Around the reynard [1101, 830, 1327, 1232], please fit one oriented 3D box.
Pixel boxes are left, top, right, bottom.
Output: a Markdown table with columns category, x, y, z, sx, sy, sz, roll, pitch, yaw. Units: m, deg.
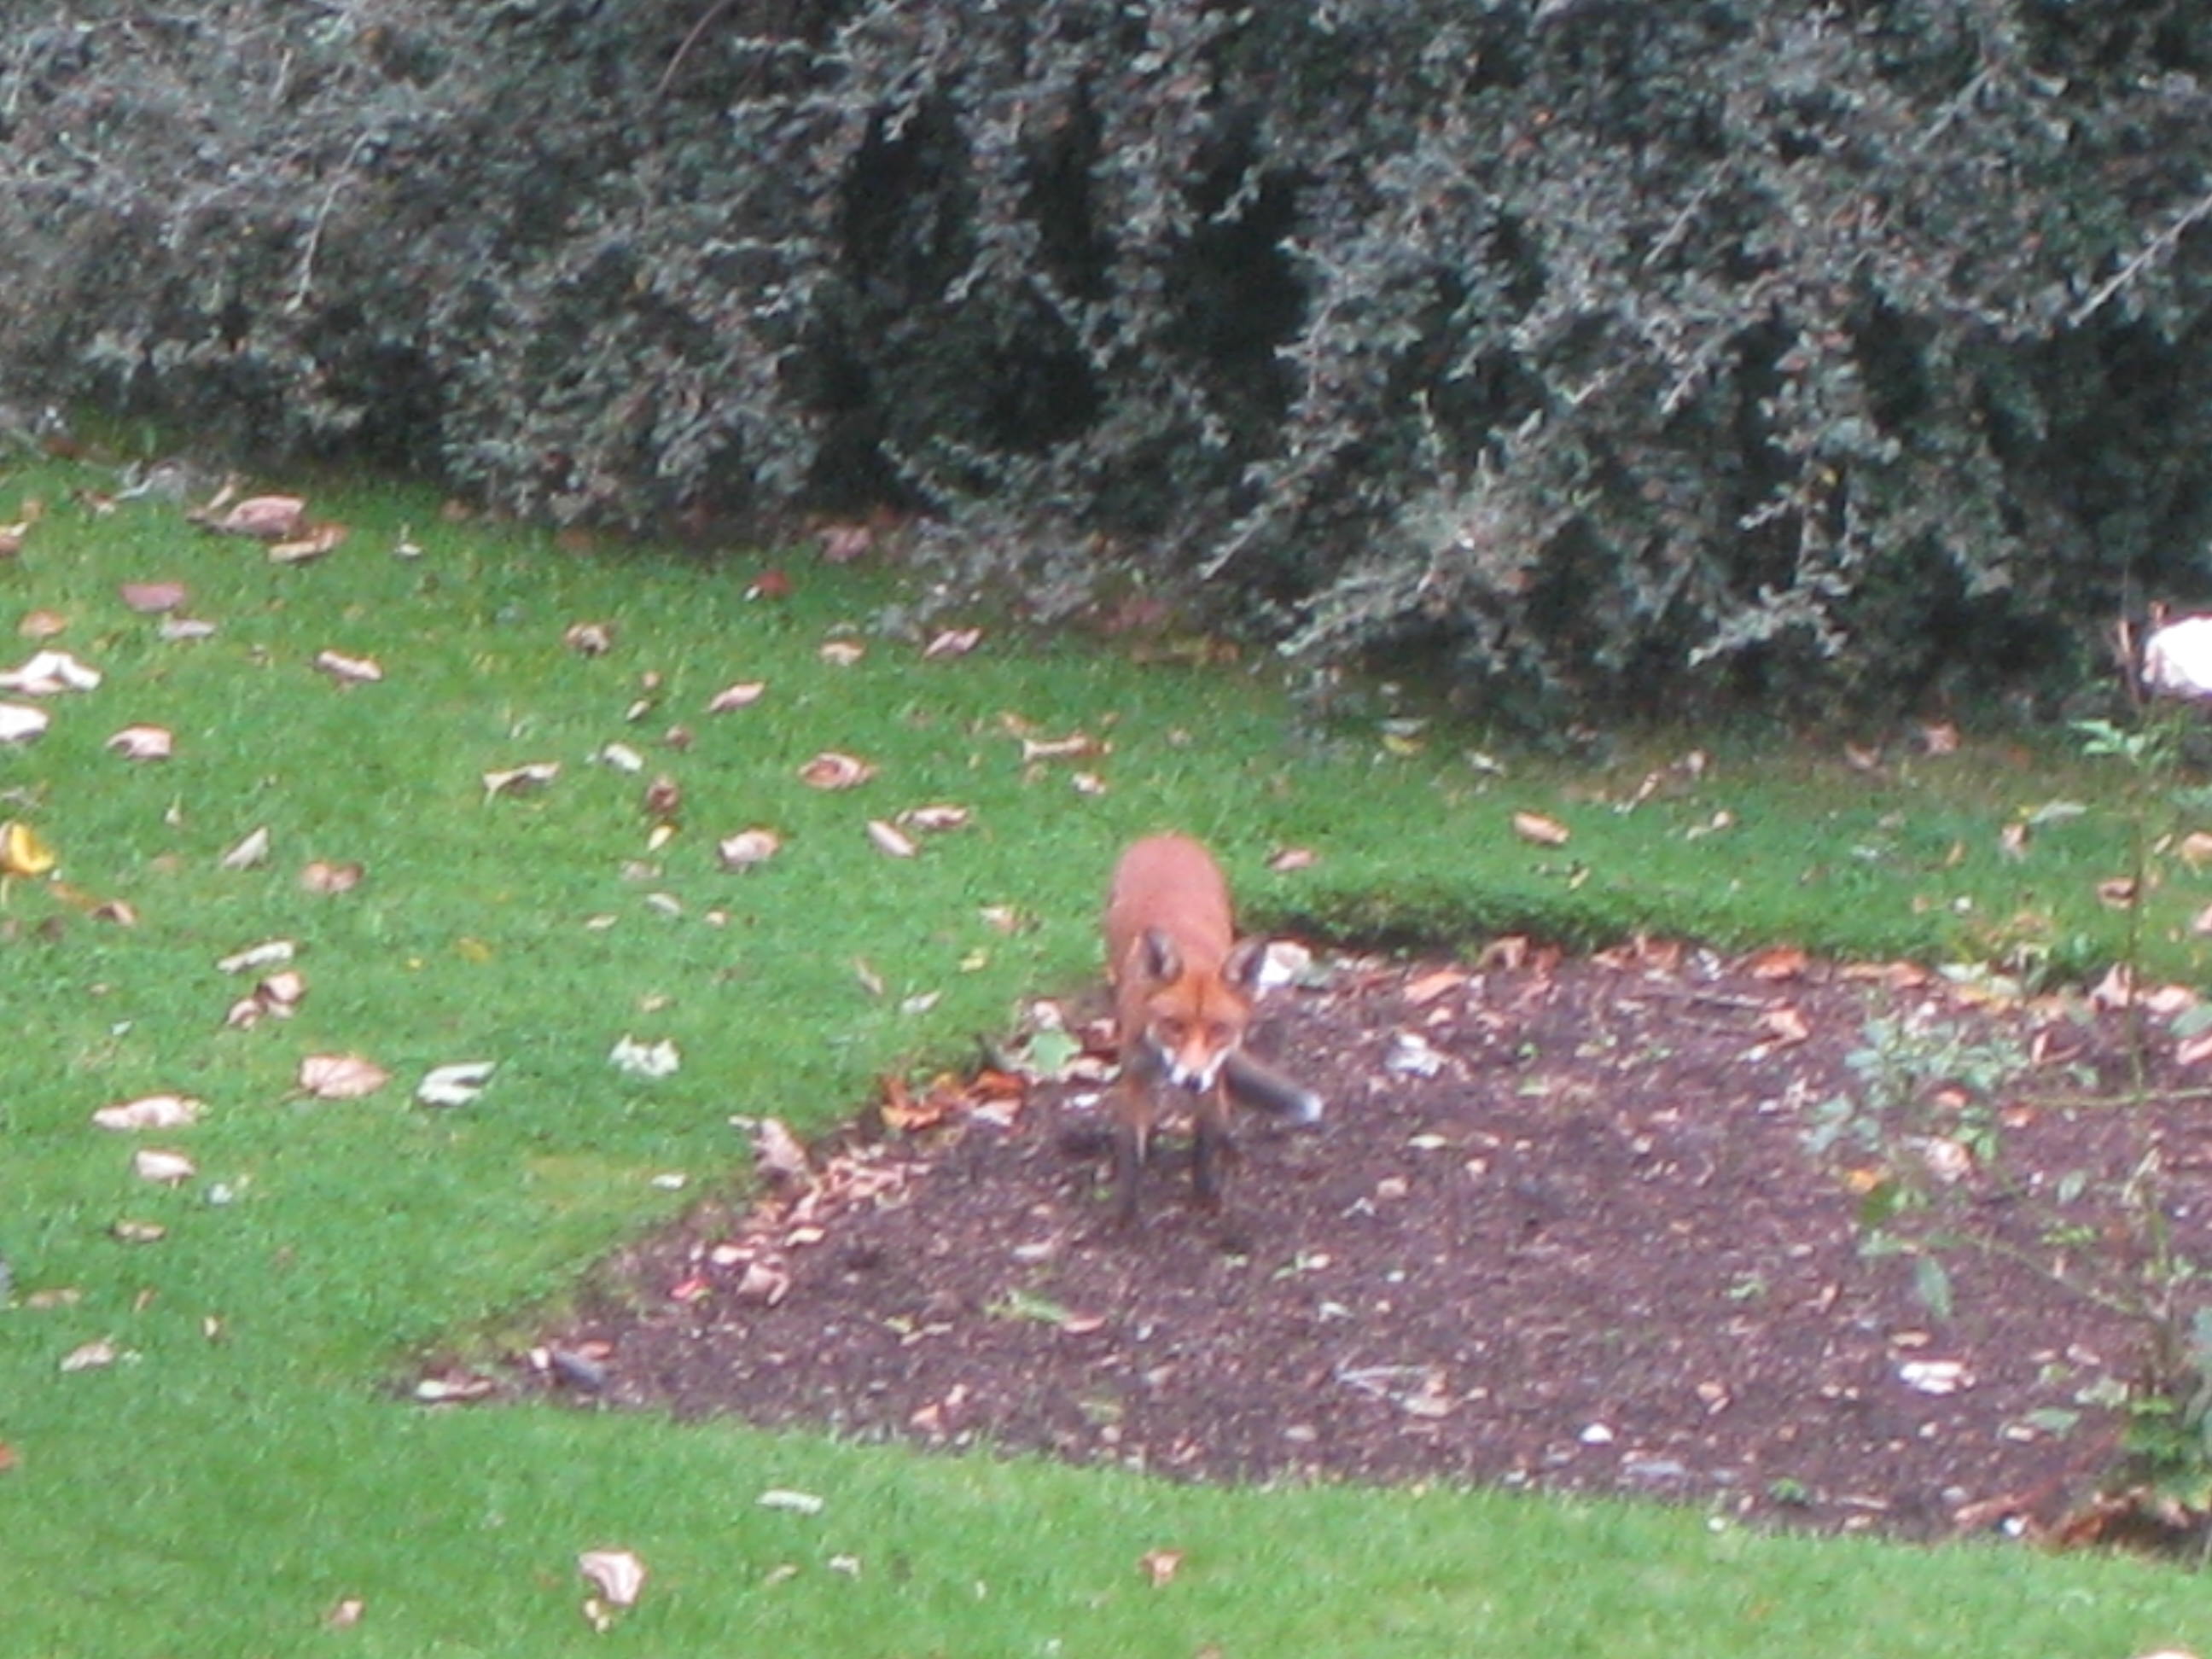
| category | x | y | z | sx | sy | sz | roll | pitch | yaw |
| --- | --- | --- | --- | --- | --- | --- | --- | --- | --- |
| reynard | 0.376 | 0.920 | 14.473 | 0.843 | 1.399 | 1.334 | 7 | 20 | -1 |
